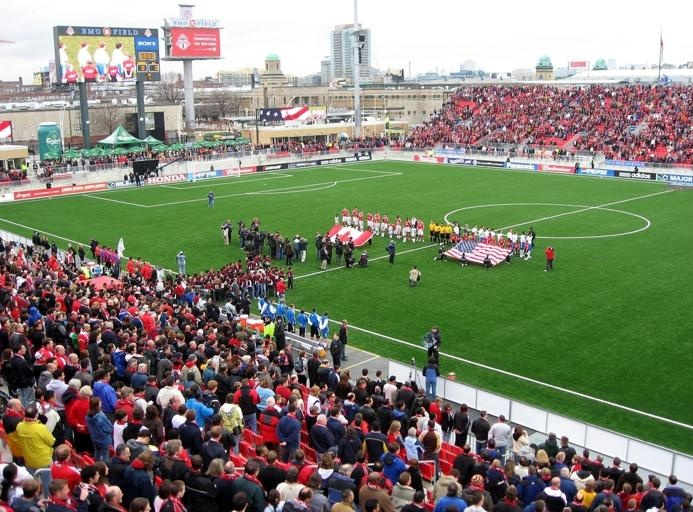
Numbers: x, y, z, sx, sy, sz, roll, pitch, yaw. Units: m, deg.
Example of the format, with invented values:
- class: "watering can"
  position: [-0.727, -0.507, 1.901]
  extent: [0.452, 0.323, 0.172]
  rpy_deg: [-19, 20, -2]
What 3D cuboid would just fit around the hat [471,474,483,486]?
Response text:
- class: "hat"
  position: [3.531, 6.016, 23.039]
  extent: [0.363, 0.350, 0.206]
  rpy_deg: [-1, 11, -2]
